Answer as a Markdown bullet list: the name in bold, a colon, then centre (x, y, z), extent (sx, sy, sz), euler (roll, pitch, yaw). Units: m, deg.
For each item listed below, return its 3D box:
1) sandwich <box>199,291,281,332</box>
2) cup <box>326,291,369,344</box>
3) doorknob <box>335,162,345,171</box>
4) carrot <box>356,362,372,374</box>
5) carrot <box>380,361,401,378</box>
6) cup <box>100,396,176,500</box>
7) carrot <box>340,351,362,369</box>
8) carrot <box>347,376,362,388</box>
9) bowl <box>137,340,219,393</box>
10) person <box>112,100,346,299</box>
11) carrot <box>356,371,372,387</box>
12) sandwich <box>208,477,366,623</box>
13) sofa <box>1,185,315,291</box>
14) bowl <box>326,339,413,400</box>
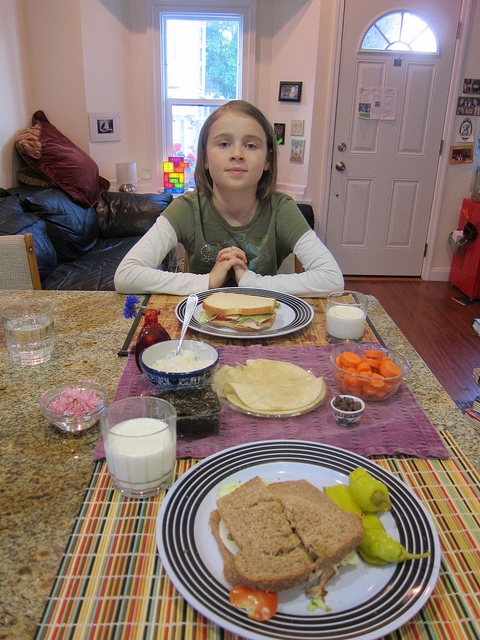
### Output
- **sandwich**: centre (-0.004, -0.026, 1.052), extent (0.125, 0.039, 0.112), euler (9, 31, 9)
- **cup**: centre (0.254, -0.003, 1.026), extent (0.093, 0.106, 0.093), euler (0, 22, 0)
- **doorknob**: centre (0.905, -1.395, 3.859), extent (0.075, 0.078, 0.018), euler (1, 0, 1)
- **carrot**: centre (0.217, 0.083, 0.754), extent (0.026, 0.026, 0.014), euler (3, 36, -1)
- **carrot**: centre (0.259, 0.085, 0.739), extent (0.025, 0.010, 0.026), euler (5, 22, -8)
- **cup**: centre (-0.110, 0.154, 0.577), extent (0.104, 0.115, 0.118), euler (-1, 21, -2)
- **carrot**: centre (0.203, 0.073, 0.785), extent (0.042, 0.015, 0.030), euler (24, 34, 38)
- **carrot**: centre (0.198, 0.106, 0.737), extent (0.018, 0.011, 0.018), euler (29, 21, -9)
- **bowl**: centre (-0.107, 0.070, 0.736), extent (0.101, 0.057, 0.104), euler (0, 17, 0)
- **person**: centre (-0.036, -0.408, 1.514), extent (0.744, 0.662, 0.651), euler (-2, 25, -6)
- **carrot**: centre (0.213, 0.101, 0.734), extent (0.023, 0.006, 0.024), euler (1, 13, 14)
- **sandwich**: centre (0.053, 0.222, 0.441), extent (0.129, 0.046, 0.149), euler (-13, 7, -15)
- **sofa**: centre (-0.499, -0.404, 2.126), extent (1.072, 0.437, 0.469), euler (-2, 58, -10)
- **bowl**: centre (0.233, 0.078, 0.795), extent (0.112, 0.047, 0.120), euler (2, 18, -1)
